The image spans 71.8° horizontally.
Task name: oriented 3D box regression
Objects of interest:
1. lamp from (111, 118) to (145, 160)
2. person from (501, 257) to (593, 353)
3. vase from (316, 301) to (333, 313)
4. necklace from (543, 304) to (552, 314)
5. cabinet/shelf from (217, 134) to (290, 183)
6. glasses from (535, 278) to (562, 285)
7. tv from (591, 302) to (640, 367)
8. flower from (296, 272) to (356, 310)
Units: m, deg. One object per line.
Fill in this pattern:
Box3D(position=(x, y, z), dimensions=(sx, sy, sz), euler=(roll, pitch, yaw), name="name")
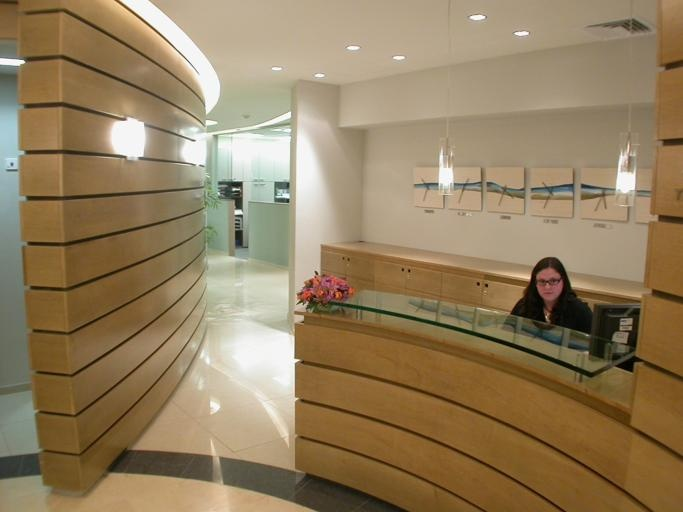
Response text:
Box3D(position=(-1.717, -0.945, 3.796), dimensions=(0.065, 0.272, 0.289), euler=(8, 10, 23), name="lamp")
Box3D(position=(1.741, 0.433, 3.875), dimensions=(0.440, 0.733, 0.761), euler=(0, 8, -45), name="person")
Box3D(position=(-0.132, 0.387, 3.580), dimensions=(0.138, 0.066, 0.097), euler=(3, 9, 13), name="vase")
Box3D(position=(1.684, 0.433, 3.844), dimensions=(0.073, 0.074, 0.063), euler=(2, -1, -27), name="necklace")
Box3D(position=(-2.783, -3.198, 15.138), dimensions=(2.275, 1.374, 0.765), euler=(4, 10, 18), name="cabinet/shelf")
Box3D(position=(1.638, 0.205, 3.740), dimensions=(0.166, 0.073, 0.041), euler=(5, 10, 23), name="glasses")
Box3D(position=(1.571, 0.458, 2.700), dimensions=(0.337, 0.346, 0.113), euler=(2, 3, -16), name="tv")
Box3D(position=(-0.092, 0.264, 3.710), dimensions=(0.302, 0.204, 0.324), euler=(-3, 1, 22), name="flower")
